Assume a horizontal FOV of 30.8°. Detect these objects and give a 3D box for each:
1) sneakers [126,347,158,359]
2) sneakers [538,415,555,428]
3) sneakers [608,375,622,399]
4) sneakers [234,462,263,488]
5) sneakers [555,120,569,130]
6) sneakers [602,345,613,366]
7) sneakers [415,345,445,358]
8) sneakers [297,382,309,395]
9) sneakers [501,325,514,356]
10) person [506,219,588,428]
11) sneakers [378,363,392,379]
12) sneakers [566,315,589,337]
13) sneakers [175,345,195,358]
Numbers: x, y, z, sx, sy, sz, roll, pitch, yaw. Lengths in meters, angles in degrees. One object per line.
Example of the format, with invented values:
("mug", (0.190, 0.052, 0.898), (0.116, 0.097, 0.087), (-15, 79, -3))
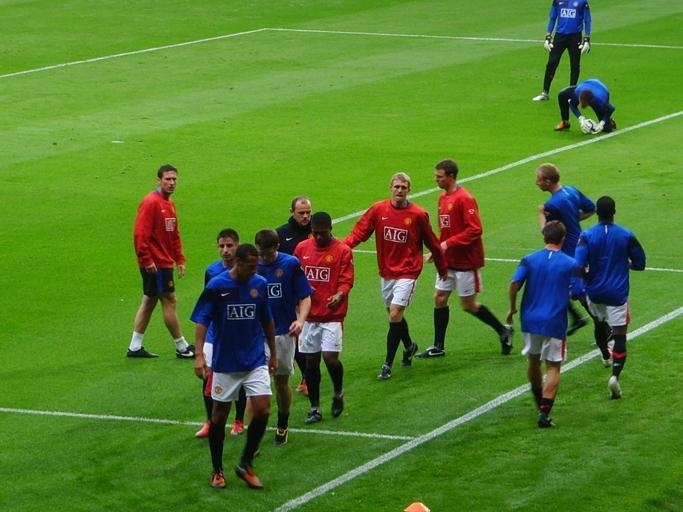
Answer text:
("sneakers", (-2.799, 1.354, 17.391), (0.498, 0.175, 0.157), (0, 2, -8))
("sneakers", (2.429, 1.991, 14.952), (0.107, 0.116, 0.261), (3, 1, 32))
("sneakers", (3.385, 1.626, 15.491), (0.130, 0.328, 0.160), (-3, 38, 21))
("sneakers", (-1.061, 2.519, 14.198), (0.151, 0.423, 0.185), (-54, 2, -21))
("sneakers", (4.857, -2.903, 27.608), (0.456, 0.282, 0.157), (-1, 7, -8))
("sneakers", (3.477, 1.287, 16.305), (0.112, 0.304, 0.145), (-4, -29, 32))
("sneakers", (1.219, 1.330, 17.199), (0.439, 0.153, 0.147), (1, 0, 1))
("sneakers", (-0.511, 1.752, 16.330), (0.129, 0.096, 0.187), (9, 34, -11))
("sneakers", (2.223, 1.138, 16.969), (0.204, 0.422, 0.158), (-4, 14, -1))
("person", (2.487, 0.818, 15.067), (0.792, 2.444, 0.587), (-9, 9, -8))
("sneakers", (0.551, 1.528, 16.577), (0.196, 0.206, 0.268), (-7, 8, 0))
("sneakers", (3.308, 0.992, 17.365), (0.424, 0.163, 0.141), (-37, 37, -17))
("sneakers", (-2.099, 1.331, 17.262), (0.380, 0.144, 0.137), (-3, 2, 4))
